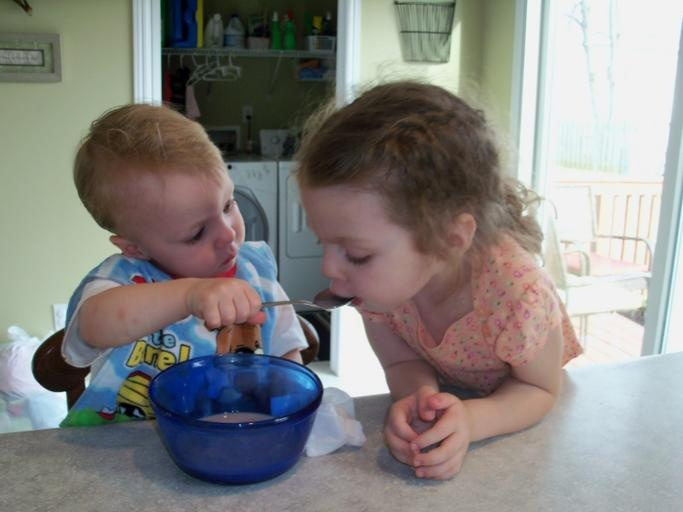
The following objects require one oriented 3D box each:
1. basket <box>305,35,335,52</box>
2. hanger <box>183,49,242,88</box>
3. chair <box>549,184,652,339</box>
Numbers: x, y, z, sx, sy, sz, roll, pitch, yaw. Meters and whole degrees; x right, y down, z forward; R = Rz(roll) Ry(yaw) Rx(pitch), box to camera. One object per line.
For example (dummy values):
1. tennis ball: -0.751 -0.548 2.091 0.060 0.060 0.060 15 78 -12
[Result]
1. basket: -0.152 -1.558 4.428 0.168 0.079 0.123 -4 13 -22
2. hanger: -1.002 -1.448 4.575 0.307 0.214 0.022 -8 26 -20
3. chair: 1.265 0.017 2.997 0.394 0.746 0.440 -7 8 -14
